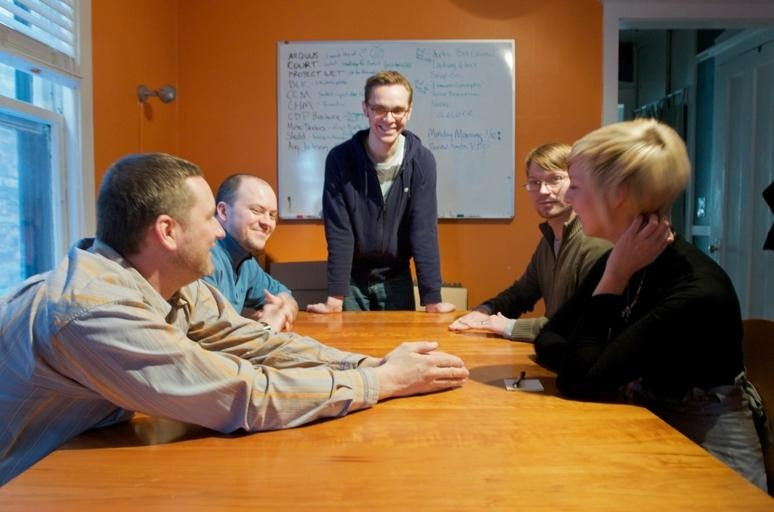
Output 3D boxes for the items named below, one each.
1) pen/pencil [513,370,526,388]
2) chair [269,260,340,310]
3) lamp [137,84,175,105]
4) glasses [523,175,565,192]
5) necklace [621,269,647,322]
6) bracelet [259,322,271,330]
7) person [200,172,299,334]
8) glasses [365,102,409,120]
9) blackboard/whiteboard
[{"bbox_3d":[0.474,0.444,2.380,0.021,0.020,0.116,-12,13,21],"label":"pen/pencil"},{"bbox_3d":[-0.580,0.173,4.776,0.354,0.281,0.362,0,5,3],"label":"chair"},{"bbox_3d":[-1.620,-1.134,4.671,0.235,0.123,0.340,-3,7,-21],"label":"lamp"},{"bbox_3d":[0.771,-0.352,3.227,0.109,0.037,0.114,-4,-5,23],"label":"glasses"},{"bbox_3d":[0.925,0.153,2.511,0.023,0.206,0.065,8,15,-23],"label":"necklace"},{"bbox_3d":[-0.470,0.269,2.564,0.009,0.032,0.032,-42,37,-19],"label":"bracelet"},{"bbox_3d":[-0.770,-0.036,3.502,0.588,0.922,0.851,-1,1,1],"label":"person"},{"bbox_3d":[0.008,-0.758,3.486,0.223,0.080,0.109,-1,7,-2],"label":"glasses"},{"bbox_3d":[0.149,-0.934,4.602,1.345,1.044,0.029,-1,5,1],"label":"blackboard/whiteboard"}]
